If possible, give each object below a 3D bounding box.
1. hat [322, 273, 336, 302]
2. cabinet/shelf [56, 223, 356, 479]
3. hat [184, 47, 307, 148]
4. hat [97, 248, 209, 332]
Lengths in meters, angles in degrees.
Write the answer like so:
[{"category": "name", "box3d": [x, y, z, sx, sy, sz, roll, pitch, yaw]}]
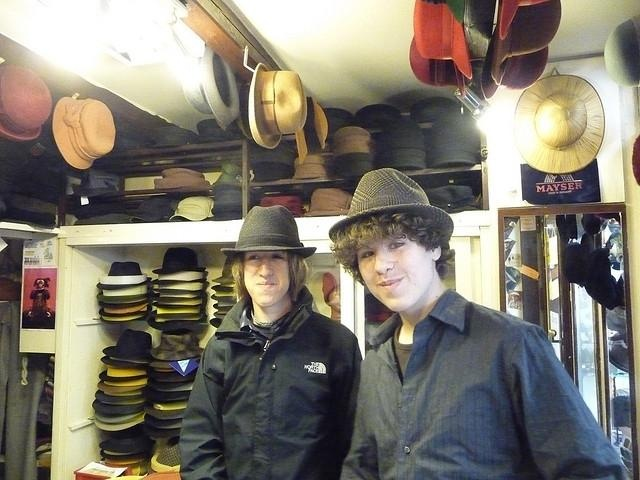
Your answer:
[{"category": "hat", "box3d": [0.077, 0.380, 4.632, 0.058, 0.206, 0.153, 4, -1, -38]}, {"category": "cabinet/shelf", "box3d": [-0.867, 0.830, 4.143, 2.197, 1.985, 0.714, 0, -6, -1]}, {"category": "hat", "box3d": [-0.516, -1.004, 4.049, 0.334, 0.605, 0.847, -3, -20, 43]}, {"category": "hat", "box3d": [-1.477, 0.443, 5.111, 0.840, 0.443, 0.819, 0, 2, 2]}]
